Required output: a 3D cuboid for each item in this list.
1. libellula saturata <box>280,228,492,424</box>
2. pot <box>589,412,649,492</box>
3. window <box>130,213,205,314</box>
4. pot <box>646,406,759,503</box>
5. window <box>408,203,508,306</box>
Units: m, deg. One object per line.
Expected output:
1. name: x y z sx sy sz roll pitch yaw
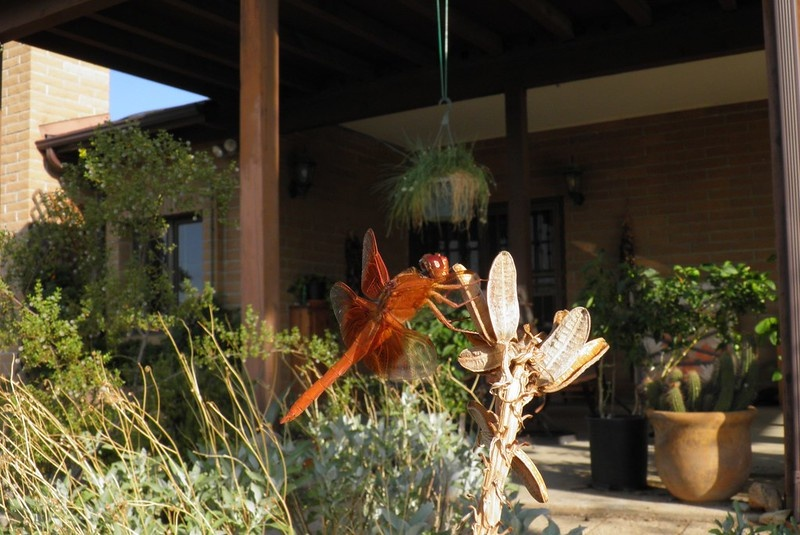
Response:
1. libellula saturata: -0.112 0.278 4.318 0.810 0.584 1.110 20 44 40
2. pot: 1.644 1.403 6.785 0.448 0.561 0.492 0 -8 0
3. window: -2.335 -0.008 9.137 0.877 1.166 0.091 -4 12 -30
4. pot: 2.228 1.342 6.660 0.794 0.742 0.792 -4 2 0
5. window: 0.486 -0.148 6.989 0.950 1.092 0.072 0 -7 17
